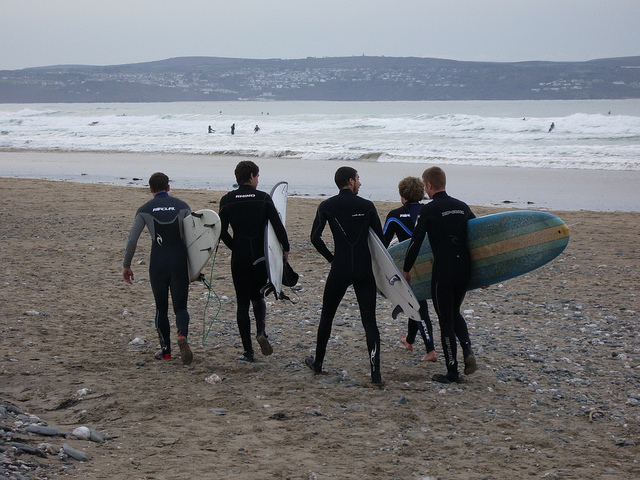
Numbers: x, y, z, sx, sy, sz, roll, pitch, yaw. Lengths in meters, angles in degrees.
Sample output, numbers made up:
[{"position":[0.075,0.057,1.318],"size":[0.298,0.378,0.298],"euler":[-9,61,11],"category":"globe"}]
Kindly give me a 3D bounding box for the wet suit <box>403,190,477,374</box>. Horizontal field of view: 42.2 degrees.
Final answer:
[{"position":[1.362,0.497,9.617],"size":[0.735,2.083,0.622],"euler":[0,16,8],"category":"wet suit"}]

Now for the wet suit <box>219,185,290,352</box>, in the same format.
[{"position":[-0.772,0.362,9.943],"size":[0.786,2.017,0.560],"euler":[-4,16,-6],"category":"wet suit"}]

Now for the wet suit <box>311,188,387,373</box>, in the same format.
[{"position":[0.294,0.480,9.599],"size":[0.810,2.099,0.630],"euler":[0,16,8],"category":"wet suit"}]

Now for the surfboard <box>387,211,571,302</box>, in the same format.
[{"position":[2.388,0.045,10.088],"size":[0.354,0.831,2.861],"euler":[-38,-15,27],"category":"surfboard"}]
